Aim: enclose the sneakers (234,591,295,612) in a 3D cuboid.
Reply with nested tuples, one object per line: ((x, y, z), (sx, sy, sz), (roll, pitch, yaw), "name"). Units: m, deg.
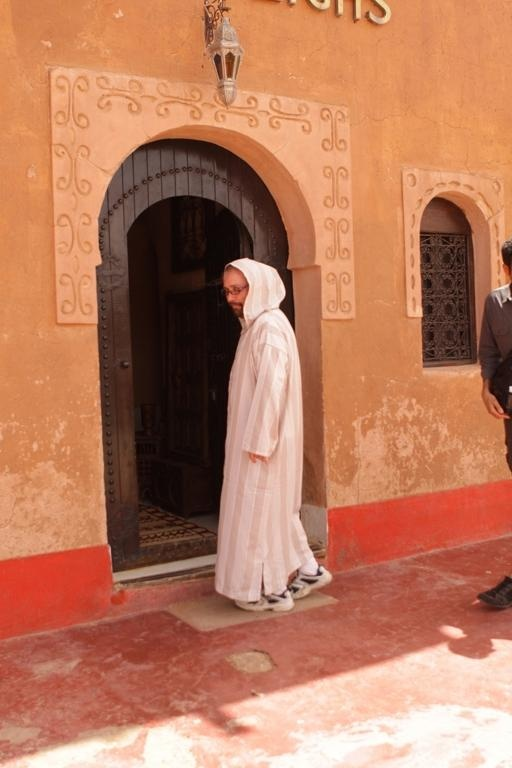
((0.046, 1.147, 4.628), (0.305, 0.152, 0.115), (5, -9, -6), "sneakers")

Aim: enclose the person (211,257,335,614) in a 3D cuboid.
((0.030, 0.268, 4.659), (0.418, 1.863, 0.577), (3, 6, 41), "person")
